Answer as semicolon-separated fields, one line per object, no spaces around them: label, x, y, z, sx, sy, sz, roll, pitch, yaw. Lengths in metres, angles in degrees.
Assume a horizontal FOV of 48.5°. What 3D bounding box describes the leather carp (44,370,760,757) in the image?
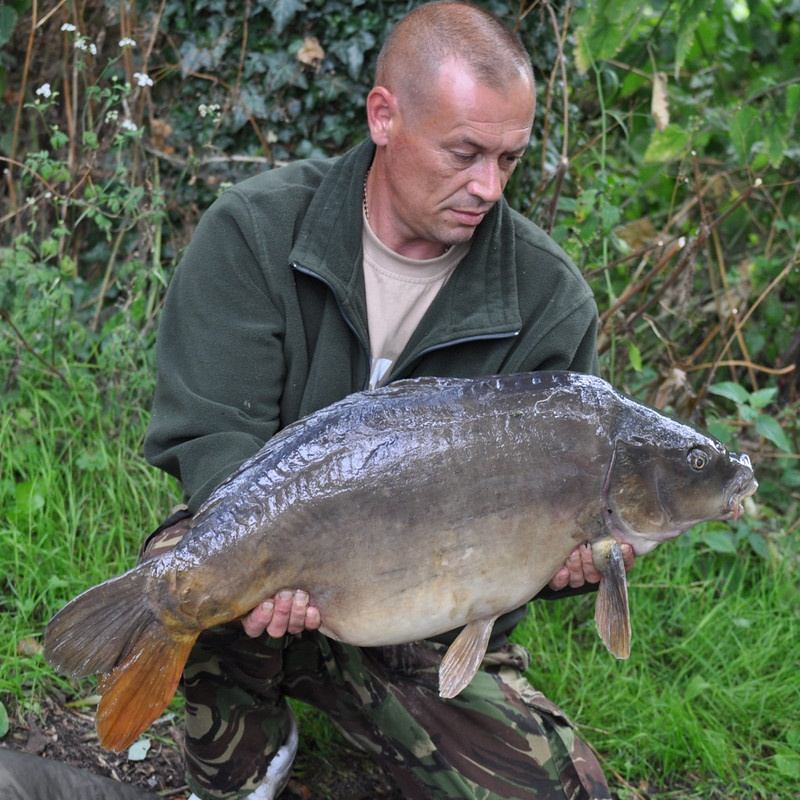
leather carp;0.069;0.329;2.006;1.640;0.718;0.380;-10;18;-11
